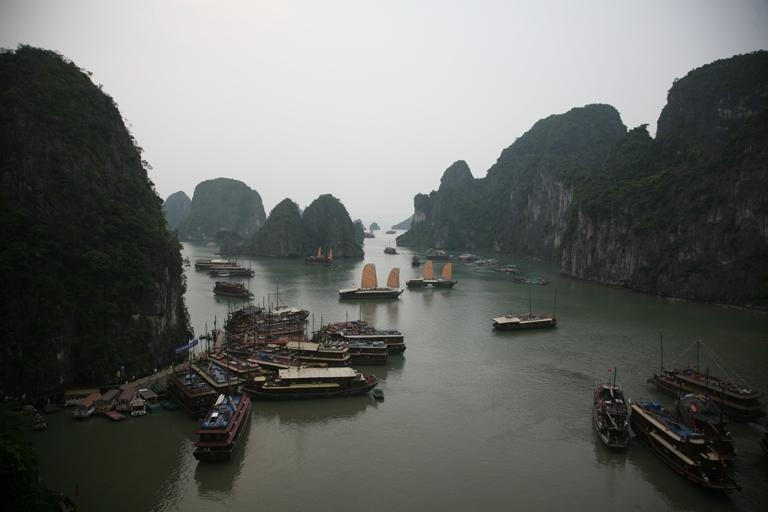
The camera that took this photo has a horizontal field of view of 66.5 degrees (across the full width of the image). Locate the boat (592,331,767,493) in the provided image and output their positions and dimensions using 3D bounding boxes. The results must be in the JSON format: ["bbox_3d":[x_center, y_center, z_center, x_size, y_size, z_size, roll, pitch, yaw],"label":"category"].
[{"bbox_3d":[23.262,13.005,50.294,14.275,11.736,18.144,-1,-1,-8],"label":"boat"}]

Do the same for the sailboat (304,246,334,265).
[{"bbox_3d":[-14.523,-0.083,134.237,3.504,3.418,8.003,0,-4,-11],"label":"sailboat"}]
